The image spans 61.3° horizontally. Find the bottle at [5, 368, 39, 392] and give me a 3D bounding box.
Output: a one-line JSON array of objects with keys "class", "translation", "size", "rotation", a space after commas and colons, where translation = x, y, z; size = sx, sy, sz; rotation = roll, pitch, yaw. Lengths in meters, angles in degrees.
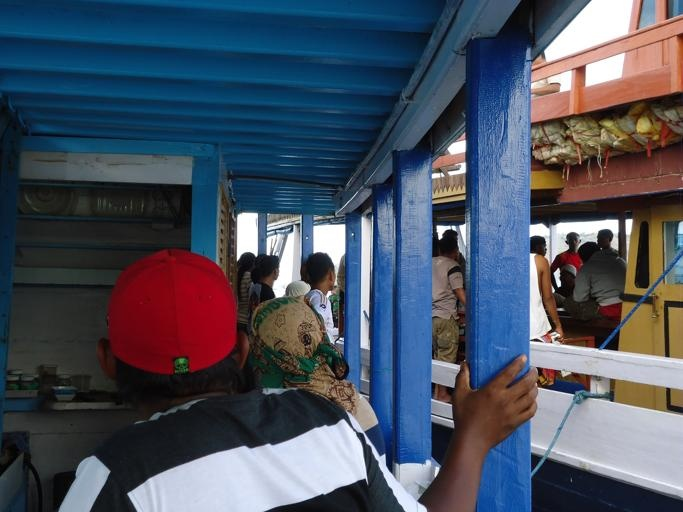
[{"class": "bottle", "translation": [-2.763, 1.057, 4.972], "size": [0.219, 0.092, 0.174], "rotation": [1, -2, 3]}]

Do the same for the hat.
[{"class": "hat", "translation": [-0.609, 0.106, 2.075], "size": [0.316, 0.261, 0.465], "rotation": [-1, 37, -14]}]

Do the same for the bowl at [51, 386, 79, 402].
[{"class": "bowl", "translation": [-2.418, 1.170, 5.009], "size": [0.148, 0.098, 0.132], "rotation": [0, -4, -15]}]

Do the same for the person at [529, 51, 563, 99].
[{"class": "person", "translation": [2.433, -2.200, 6.844], "size": [0.316, 0.564, 1.066], "rotation": [-3, -1, 19]}]

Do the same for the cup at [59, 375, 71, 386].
[{"class": "cup", "translation": [-2.513, 1.109, 5.238], "size": [0.090, 0.115, 0.092], "rotation": [3, 0, 0]}]
